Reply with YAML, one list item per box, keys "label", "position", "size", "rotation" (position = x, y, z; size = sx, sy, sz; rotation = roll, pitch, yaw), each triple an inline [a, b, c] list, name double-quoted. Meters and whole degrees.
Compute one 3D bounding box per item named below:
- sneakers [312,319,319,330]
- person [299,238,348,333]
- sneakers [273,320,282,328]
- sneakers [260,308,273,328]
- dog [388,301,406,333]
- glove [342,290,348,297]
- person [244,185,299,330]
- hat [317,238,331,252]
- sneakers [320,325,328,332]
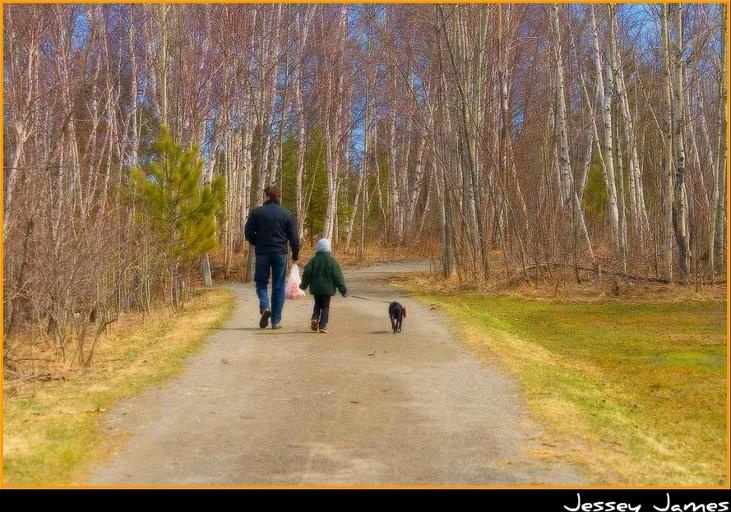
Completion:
- label: "sneakers"
  position: [-1.051, 1.417, 13.797]
  size: [0.137, 0.278, 0.224]
  rotation: [2, 7, 8]
- label: "person"
  position: [-0.884, 0.622, 13.881]
  size: [0.854, 1.908, 0.883]
  rotation: [-1, 8, -19]
- label: "sneakers"
  position: [-1.883, 1.451, 14.258]
  size: [0.140, 0.157, 0.136]
  rotation: [2, -5, -6]
- label: "sneakers"
  position: [-2.087, 1.300, 14.067]
  size: [0.174, 0.459, 0.188]
  rotation: [7, 19, -12]
- label: "dog"
  position: [0.662, 1.267, 14.154]
  size: [0.332, 0.629, 0.694]
  rotation: [1, 7, 2]
- label: "glove"
  position: [-0.445, 0.768, 13.778]
  size: [0.137, 0.087, 0.199]
  rotation: [1, -2, -1]
- label: "person"
  position: [-1.987, 0.034, 14.177]
  size: [1.081, 2.992, 1.236]
  rotation: [0, 7, -10]
- label: "hat"
  position: [-0.877, -0.251, 14.110]
  size: [0.237, 0.291, 0.301]
  rotation: [3, -1, -1]
- label: "sneakers"
  position: [-0.867, 1.529, 13.887]
  size: [0.156, 0.074, 0.069]
  rotation: [-3, 3, -26]
